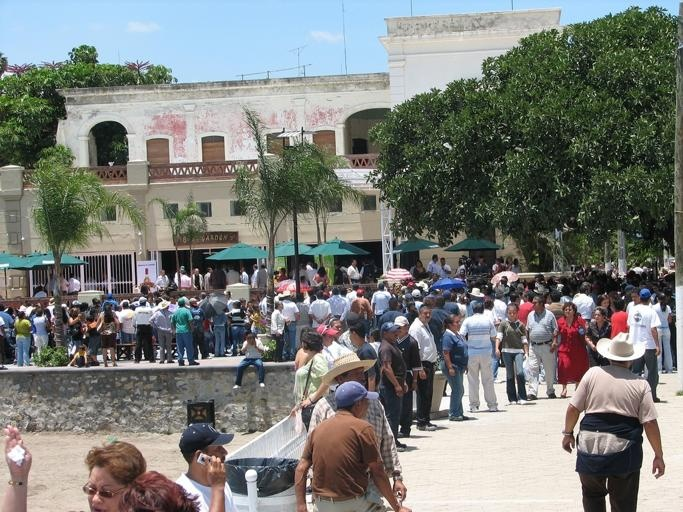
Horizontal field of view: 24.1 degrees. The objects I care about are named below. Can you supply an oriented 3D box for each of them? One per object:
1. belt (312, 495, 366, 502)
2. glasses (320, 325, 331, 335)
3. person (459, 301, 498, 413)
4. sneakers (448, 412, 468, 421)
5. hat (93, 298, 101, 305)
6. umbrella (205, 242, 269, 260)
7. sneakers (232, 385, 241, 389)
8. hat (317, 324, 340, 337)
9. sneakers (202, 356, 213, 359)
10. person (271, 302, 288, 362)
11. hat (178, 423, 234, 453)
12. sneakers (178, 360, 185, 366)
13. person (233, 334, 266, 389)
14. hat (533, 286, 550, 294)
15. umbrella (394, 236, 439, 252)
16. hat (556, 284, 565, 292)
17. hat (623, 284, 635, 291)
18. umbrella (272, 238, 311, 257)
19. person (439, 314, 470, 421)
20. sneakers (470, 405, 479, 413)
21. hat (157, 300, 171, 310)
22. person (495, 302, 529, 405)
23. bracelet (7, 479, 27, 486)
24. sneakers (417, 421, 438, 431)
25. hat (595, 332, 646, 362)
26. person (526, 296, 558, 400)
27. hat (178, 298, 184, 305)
[{"bbox_3d":[-0.073,5.657,37.201,1.133,0.162,0.088,-3,-1,1],"label":"belt"},{"bbox_3d":[-0.427,1.963,41.631,0.229,0.168,0.070,10,-23,49],"label":"glasses"},{"bbox_3d":[3.854,2.798,44.987,1.054,3.023,0.908,0,-2,11],"label":"person"},{"bbox_3d":[3.209,4.462,44.288,0.519,0.228,0.181,-2,-3,9],"label":"sneakers"},{"bbox_3d":[-8.373,1.585,54.907,0.222,0.276,0.277,0,4,-7],"label":"hat"},{"bbox_3d":[-3.852,-0.150,60.453,2.100,0.605,1.136,-3,-1,-20],"label":"umbrella"},{"bbox_3d":[-3.114,3.909,47.820,0.221,0.098,0.223,-3,-1,-2],"label":"sneakers"},{"bbox_3d":[-0.357,1.946,41.572,0.601,0.286,0.382,4,2,11],"label":"hat"},{"bbox_3d":[-4.407,3.381,53.154,0.105,0.125,0.313,3,-8,-27],"label":"sneakers"},{"bbox_3d":[-1.983,2.376,50.604,0.464,1.770,0.879,-3,-1,-3],"label":"person"},{"bbox_3d":[-3.103,4.085,36.443,1.000,0.472,0.645,-6,7,-5],"label":"hat"},{"bbox_3d":[-5.016,3.371,50.425,0.218,0.220,0.117,0,-5,-4],"label":"sneakers"},{"bbox_3d":[-2.786,3.130,48.288,0.899,1.565,1.326,-3,-1,-5],"label":"person"},{"bbox_3d":[6.405,1.136,51.460,0.522,0.203,0.416,-1,1,12],"label":"hat"},{"bbox_3d":[2.861,-0.419,62.230,1.251,0.535,1.680,-2,-2,-40],"label":"umbrella"},{"bbox_3d":[7.135,1.048,52.463,0.295,0.159,0.388,5,1,-7],"label":"hat"},{"bbox_3d":[8.973,1.020,50.213,0.352,0.102,0.267,1,3,-3],"label":"hat"},{"bbox_3d":[-1.990,-0.209,60.497,0.802,0.412,0.802,-3,-3,35],"label":"umbrella"},{"bbox_3d":[3.099,3.092,44.238,0.478,2.875,0.913,-3,-1,41],"label":"person"},{"bbox_3d":[3.715,4.296,44.982,0.207,0.194,0.135,-3,-10,12],"label":"sneakers"},{"bbox_3d":[-5.700,1.583,51.196,0.348,0.277,0.396,-3,-1,-7],"label":"hat"},{"bbox_3d":[4.809,2.780,45.341,0.875,2.793,0.648,-3,-1,5],"label":"person"},{"bbox_3d":[-7.170,5.026,35.562,0.327,0.087,0.333,0,-3,22],"label":"bracelet"},{"bbox_3d":[2.361,4.639,43.620,0.614,0.251,0.191,-3,0,9],"label":"sneakers"},{"bbox_3d":[6.721,2.140,38.170,0.725,0.300,0.828,10,22,25],"label":"hat"},{"bbox_3d":[5.666,2.582,45.488,0.897,2.929,0.943,-3,-1,4],"label":"person"},{"bbox_3d":[-5.078,1.476,50.932,0.215,0.218,0.271,-3,-1,-7],"label":"hat"}]
